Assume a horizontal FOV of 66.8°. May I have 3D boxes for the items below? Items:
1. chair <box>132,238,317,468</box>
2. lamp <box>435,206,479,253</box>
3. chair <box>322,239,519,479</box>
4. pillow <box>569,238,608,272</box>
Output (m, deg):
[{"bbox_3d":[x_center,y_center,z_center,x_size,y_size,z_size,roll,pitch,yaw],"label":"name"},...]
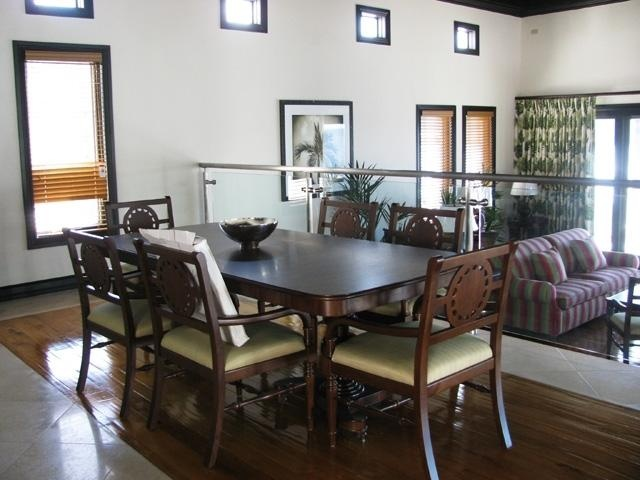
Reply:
[{"bbox_3d":[-0.462,0.487,2.447,0.655,0.960,0.672,6,6,44],"label":"chair"},{"bbox_3d":[0.867,-0.072,3.048,0.228,0.392,0.234,-10,15,-39],"label":"lamp"},{"bbox_3d":[0.478,0.400,2.588,0.940,1.355,0.977,-9,14,-42],"label":"chair"},{"bbox_3d":[1.575,0.093,2.838,0.054,0.217,0.203,-12,16,-39],"label":"pillow"}]
